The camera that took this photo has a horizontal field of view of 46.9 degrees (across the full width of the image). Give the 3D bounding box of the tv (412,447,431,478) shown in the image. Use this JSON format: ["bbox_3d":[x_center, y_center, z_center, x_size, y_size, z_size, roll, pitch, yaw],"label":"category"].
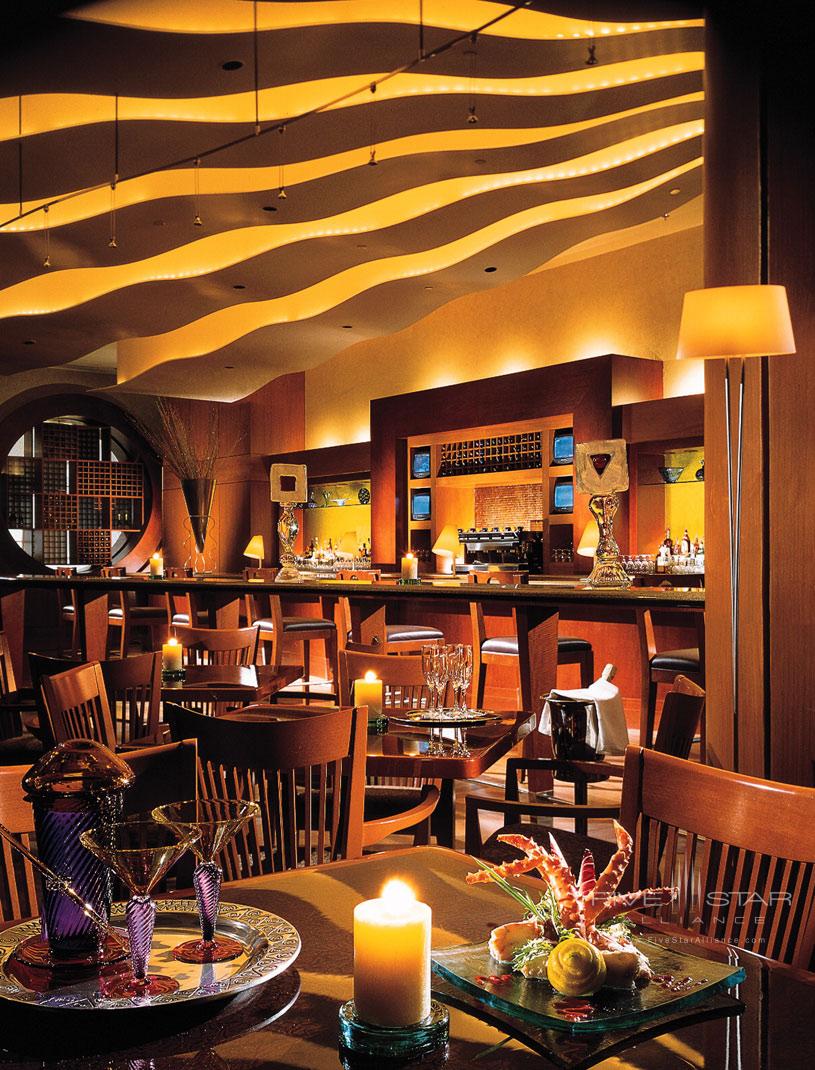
[{"bbox_3d":[0.124,-0.733,9.362,0.064,0.319,0.305,3,-3,-32],"label":"tv"}]

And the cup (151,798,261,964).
[{"bbox_3d":[-0.185,0.319,0.852,0.098,0.126,0.108,-5,-12,4],"label":"cup"}]

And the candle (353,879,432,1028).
[{"bbox_3d":[-0.012,0.302,0.668,0.053,0.081,0.072,2,-3,-5],"label":"candle"}]

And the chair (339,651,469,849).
[{"bbox_3d":[-0.045,0.643,2.781,0.390,0.625,0.425,10,-16,-24],"label":"chair"}]

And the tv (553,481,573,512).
[{"bbox_3d":[1.294,-0.329,7.821,0.058,0.281,0.237,3,-3,-25],"label":"tv"}]

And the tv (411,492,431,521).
[{"bbox_3d":[0.134,-0.291,9.347,0.223,0.348,0.175,-5,-11,38],"label":"tv"}]

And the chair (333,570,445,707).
[{"bbox_3d":[-0.054,0.652,5.508,0.492,0.782,0.533,-6,-7,6],"label":"chair"}]

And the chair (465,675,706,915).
[{"bbox_3d":[0.392,0.611,2.242,0.376,0.625,0.435,9,-9,31],"label":"chair"}]

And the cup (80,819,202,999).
[{"bbox_3d":[-0.216,0.307,0.750,0.093,0.113,0.092,-2,-5,0],"label":"cup"}]

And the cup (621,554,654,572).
[{"bbox_3d":[1.676,0.209,6.789,0.227,0.120,0.359,1,-3,16],"label":"cup"}]

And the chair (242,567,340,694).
[{"bbox_3d":[-0.845,0.720,6.777,0.691,1.067,0.734,-8,-2,7],"label":"chair"}]

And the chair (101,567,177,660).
[{"bbox_3d":[-2.506,0.792,8.820,0.472,0.782,0.440,-1,-1,-19],"label":"chair"}]

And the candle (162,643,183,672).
[{"bbox_3d":[-0.935,0.491,3.713,0.088,0.107,0.090,2,-5,-23],"label":"candle"}]

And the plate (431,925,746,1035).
[{"bbox_3d":[0.131,0.354,0.735,0.193,0.038,0.213,-3,-9,-17],"label":"plate"}]

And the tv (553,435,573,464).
[{"bbox_3d":[1.290,-0.733,7.809,0.029,0.280,0.241,3,-3,-32],"label":"tv"}]
